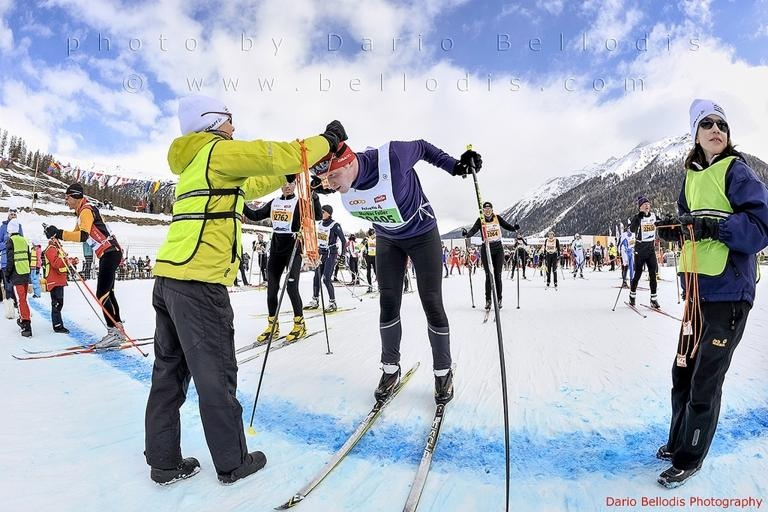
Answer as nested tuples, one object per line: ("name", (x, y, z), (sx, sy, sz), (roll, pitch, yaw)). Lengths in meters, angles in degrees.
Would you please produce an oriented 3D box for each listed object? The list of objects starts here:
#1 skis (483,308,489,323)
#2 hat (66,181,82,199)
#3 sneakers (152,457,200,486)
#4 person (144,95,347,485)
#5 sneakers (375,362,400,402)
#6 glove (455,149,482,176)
("skis", (1.915, 1.108, 8.681), (0.099, 0.110, 0.486), (0, 25, 14))
("hat", (-4.889, -0.998, 7.232), (0.239, 0.291, 0.305), (0, 2, -33))
("sneakers", (-1.879, 1.840, 4.113), (0.330, 0.155, 0.169), (-6, 6, -40))
("person", (-1.465, 0.246, 4.187), (1.488, 3.404, 0.771), (-1, 3, 5))
("sneakers", (0.028, 1.417, 5.200), (0.168, 0.219, 0.497), (-2, 3, 10))
("glove", (0.886, -0.984, 4.956), (0.279, 0.290, 0.213), (0, 3, 21))
